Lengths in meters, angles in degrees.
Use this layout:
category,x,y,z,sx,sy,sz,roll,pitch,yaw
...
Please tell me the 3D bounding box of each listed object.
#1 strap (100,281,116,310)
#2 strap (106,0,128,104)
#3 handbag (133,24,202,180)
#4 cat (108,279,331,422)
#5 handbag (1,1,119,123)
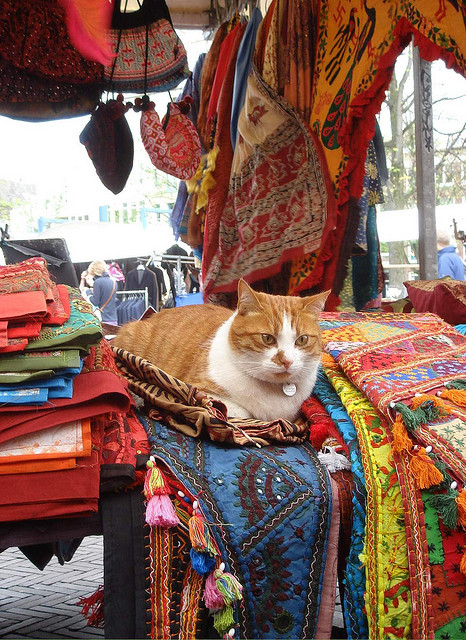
category,x,y,z,sx,sy,sz,roll,pitch,yaw
strap,-1.278,-0.245,5.264,0.062,0.248,0.134,24,-1,-9
strap,-0.544,-1.261,2.360,0.025,0.573,0.085,9,24,-14
handbag,-0.322,-1.039,2.399,0.318,0.736,0.092,-6,4,-6
cat,-0.027,0.048,1.366,0.448,0.302,0.647,6,10,-33
handbag,-0.801,-1.173,2.249,0.531,0.503,0.497,-3,1,-12
